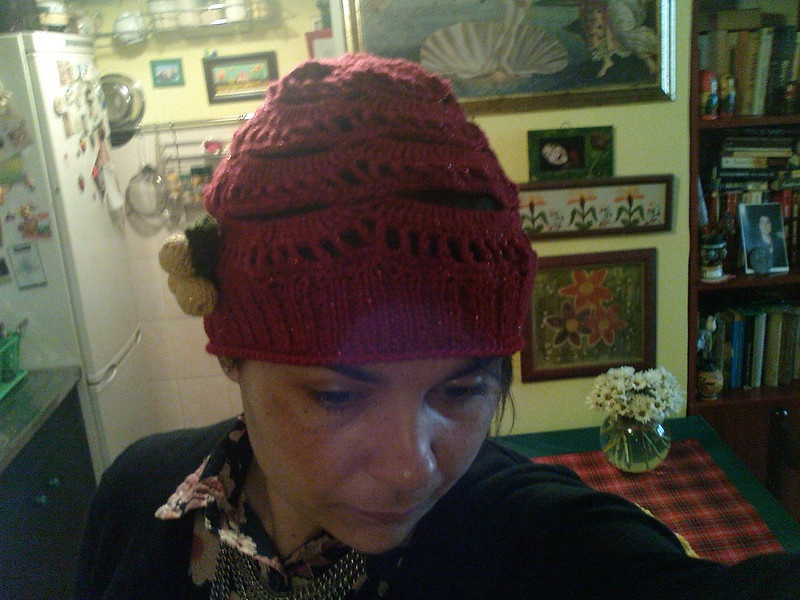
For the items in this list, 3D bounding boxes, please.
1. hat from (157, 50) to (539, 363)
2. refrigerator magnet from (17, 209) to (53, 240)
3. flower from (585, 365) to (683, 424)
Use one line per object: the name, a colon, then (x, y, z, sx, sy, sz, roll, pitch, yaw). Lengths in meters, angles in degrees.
hat: (-0.058, -0.120, 1.013, 0.469, 0.358, 0.474, -3, 5, -12)
refrigerator magnet: (-0.927, -0.196, 1.716, 0.080, 0.081, 0.024, -2, 2, -32)
flower: (0.593, 0.202, 1.654, 0.150, 0.110, 0.152, 3, 6, 38)
